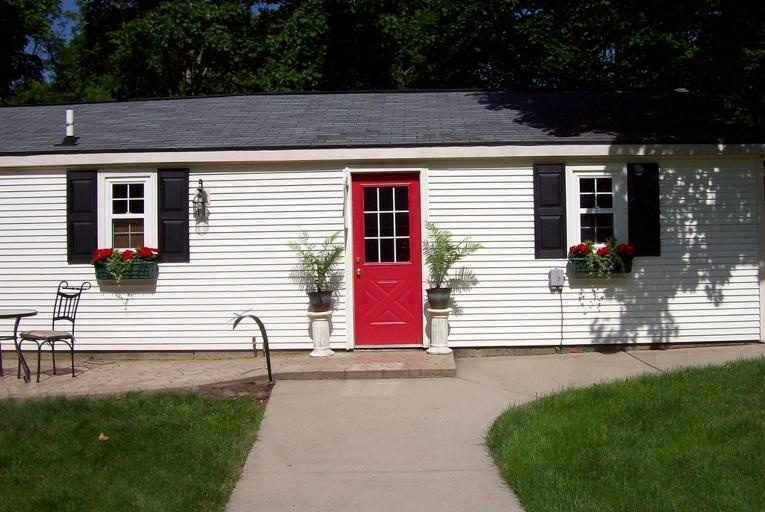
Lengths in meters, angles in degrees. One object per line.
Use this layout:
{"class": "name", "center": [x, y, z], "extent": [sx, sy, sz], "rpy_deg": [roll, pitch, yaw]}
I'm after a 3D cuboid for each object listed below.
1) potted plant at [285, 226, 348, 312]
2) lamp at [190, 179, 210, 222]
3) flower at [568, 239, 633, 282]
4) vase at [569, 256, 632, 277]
{"class": "potted plant", "center": [-1.127, 0.413, 16.644], "extent": [1.261, 1.389, 1.387], "rpy_deg": [5, -11, -26]}
{"class": "lamp", "center": [-3.413, -1.019, 16.402], "extent": [0.317, 0.790, 0.125], "rpy_deg": [-2, 1, -10]}
{"class": "flower", "center": [4.104, 0.066, 16.403], "extent": [1.089, 0.618, 0.611], "rpy_deg": [-1, 3, 6]}
{"class": "vase", "center": [4.010, 0.176, 16.226], "extent": [1.125, 0.293, 0.207], "rpy_deg": [-2, 1, -1]}
